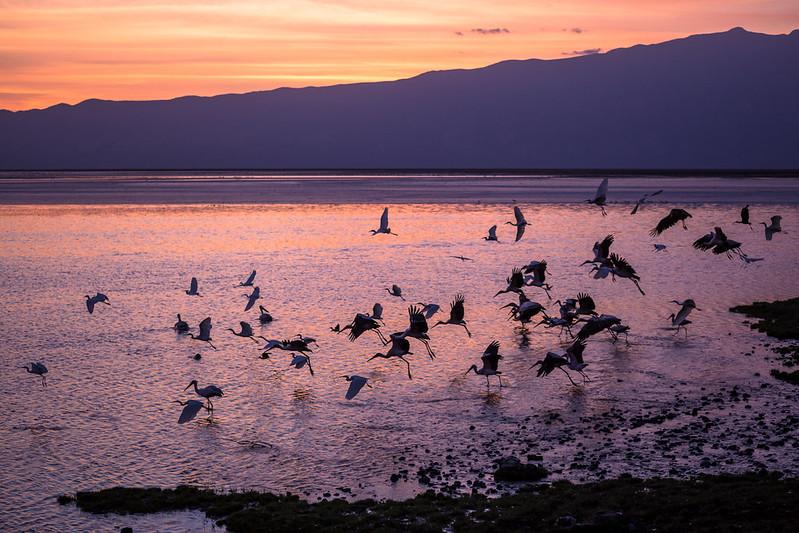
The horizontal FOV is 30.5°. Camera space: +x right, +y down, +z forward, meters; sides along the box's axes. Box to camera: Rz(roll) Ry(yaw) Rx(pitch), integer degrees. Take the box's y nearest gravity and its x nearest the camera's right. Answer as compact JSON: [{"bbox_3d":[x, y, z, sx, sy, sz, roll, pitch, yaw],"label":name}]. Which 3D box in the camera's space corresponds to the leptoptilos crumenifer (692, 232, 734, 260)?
[{"bbox_3d":[15.268,-0.977,71.331,1.434,0.600,1.664,20,11,16],"label":"leptoptilos crumenifer"}]

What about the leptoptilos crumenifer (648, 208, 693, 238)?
[{"bbox_3d":[14.647,-2.290,78.911,1.621,0.749,2.667,-17,1,-8],"label":"leptoptilos crumenifer"}]
